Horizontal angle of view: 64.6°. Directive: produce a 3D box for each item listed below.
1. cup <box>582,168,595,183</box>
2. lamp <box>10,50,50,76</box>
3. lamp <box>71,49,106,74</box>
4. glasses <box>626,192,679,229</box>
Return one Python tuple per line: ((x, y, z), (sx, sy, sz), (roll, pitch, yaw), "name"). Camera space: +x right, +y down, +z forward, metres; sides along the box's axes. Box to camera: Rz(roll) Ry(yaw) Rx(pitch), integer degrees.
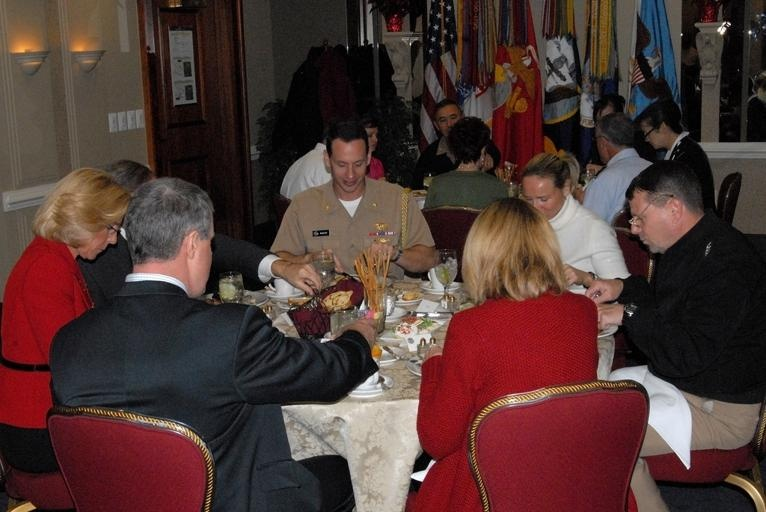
((1.755, -0.682, 5.195), (0.106, 0.192, 0.113), (-2, 0, 0), "cup")
((-2.539, -1.399, 4.395), (0.156, 0.114, 0.165), (-3, 4, -11), "lamp")
((-2.380, -1.549, 4.870), (0.163, 0.126, 0.168), (1, 10, 39), "lamp")
((1.101, -0.185, 2.477), (0.166, 0.144, 0.126), (10, 7, 34), "glasses")
